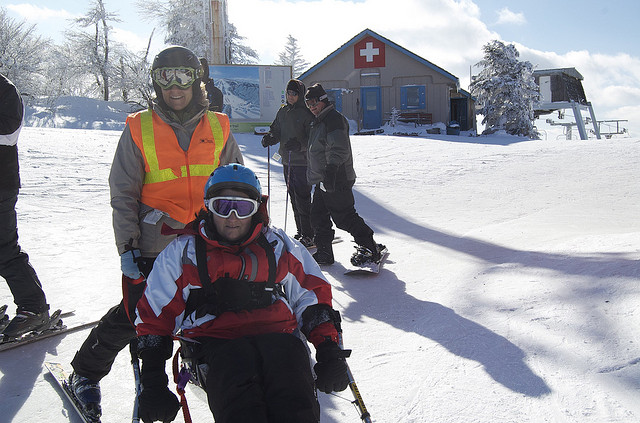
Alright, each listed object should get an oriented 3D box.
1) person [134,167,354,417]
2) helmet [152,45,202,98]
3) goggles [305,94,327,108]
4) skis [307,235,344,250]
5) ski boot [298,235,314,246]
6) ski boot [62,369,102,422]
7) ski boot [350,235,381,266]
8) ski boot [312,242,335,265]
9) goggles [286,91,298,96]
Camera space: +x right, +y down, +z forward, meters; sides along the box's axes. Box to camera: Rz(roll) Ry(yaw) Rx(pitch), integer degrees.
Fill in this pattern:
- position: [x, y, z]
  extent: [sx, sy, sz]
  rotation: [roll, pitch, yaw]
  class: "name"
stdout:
- position: [-0.523, 0.474, 2.923]
  extent: [1.319, 1.421, 0.836]
  rotation: [-7, 11, -12]
  class: "person"
- position: [-1.095, -1.029, 3.686]
  extent: [0.343, 0.443, 0.406]
  rotation: [-6, 1, -3]
  class: "helmet"
- position: [-0.045, -1.501, 6.347]
  extent: [0.203, 0.061, 0.188]
  rotation: [-34, 19, -35]
  class: "goggles"
- position: [0.118, 0.507, 7.673]
  extent: [0.614, 0.271, 0.196]
  rotation: [3, -3, -35]
  class: "skis"
- position: [-0.205, 0.427, 7.201]
  extent: [0.191, 0.120, 0.304]
  rotation: [-5, 11, -3]
  class: "ski boot"
- position: [-1.672, 1.315, 3.386]
  extent: [0.103, 0.328, 0.152]
  rotation: [-34, 2, -43]
  class: "ski boot"
- position: [0.678, 0.511, 6.173]
  extent: [0.554, 0.252, 0.189]
  rotation: [-23, 0, -45]
  class: "ski boot"
- position: [0.062, 0.568, 6.486]
  extent: [0.289, 0.330, 0.215]
  rotation: [-7, 11, -9]
  class: "ski boot"
- position: [-0.433, -1.776, 7.196]
  extent: [0.185, 0.079, 0.074]
  rotation: [3, 13, 33]
  class: "goggles"
